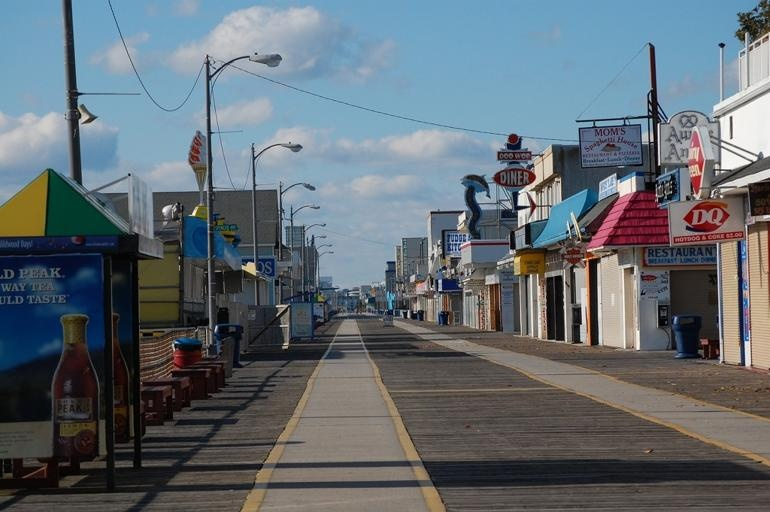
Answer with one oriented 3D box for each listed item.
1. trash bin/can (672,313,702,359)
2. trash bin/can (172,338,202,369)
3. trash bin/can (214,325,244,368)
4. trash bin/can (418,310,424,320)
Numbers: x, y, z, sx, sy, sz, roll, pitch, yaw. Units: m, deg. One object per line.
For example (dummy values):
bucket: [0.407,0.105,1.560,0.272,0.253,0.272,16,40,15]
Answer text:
trash bin/can: [9.379,2.477,35.898,0.797,1.331,0.653,-3,-4,5]
trash bin/can: [-5.400,2.525,30.739,0.765,0.838,0.786,5,5,41]
trash bin/can: [-4.853,2.743,35.669,0.778,1.285,0.746,0,1,-8]
trash bin/can: [4.012,6.513,125.991,0.830,0.933,0.833,-1,0,-7]
